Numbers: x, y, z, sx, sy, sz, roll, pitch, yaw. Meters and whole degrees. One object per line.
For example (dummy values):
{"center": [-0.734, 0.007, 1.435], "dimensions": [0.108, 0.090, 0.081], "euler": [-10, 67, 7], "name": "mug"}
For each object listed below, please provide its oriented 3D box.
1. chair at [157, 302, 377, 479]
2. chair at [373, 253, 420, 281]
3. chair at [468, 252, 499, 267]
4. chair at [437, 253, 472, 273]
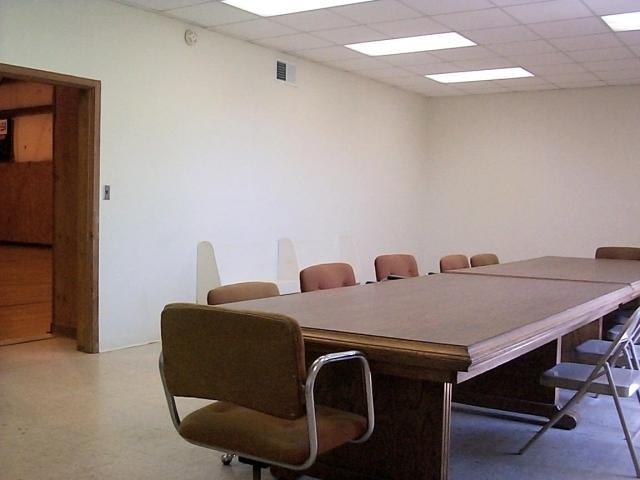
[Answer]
{"center": [-0.241, 0.616, 1.850], "dimensions": [0.859, 0.755, 0.385], "euler": [2, 2, 20], "name": "chair"}
{"center": [0.697, 0.241, 4.443], "dimensions": [0.280, 0.386, 0.310], "euler": [-1, -3, -25], "name": "chair"}
{"center": [1.817, 0.224, 5.229], "dimensions": [0.226, 0.317, 0.254], "euler": [0, -1, -24], "name": "chair"}
{"center": [1.383, 0.237, 4.787], "dimensions": [0.232, 0.327, 0.265], "euler": [0, -2, -28], "name": "chair"}
